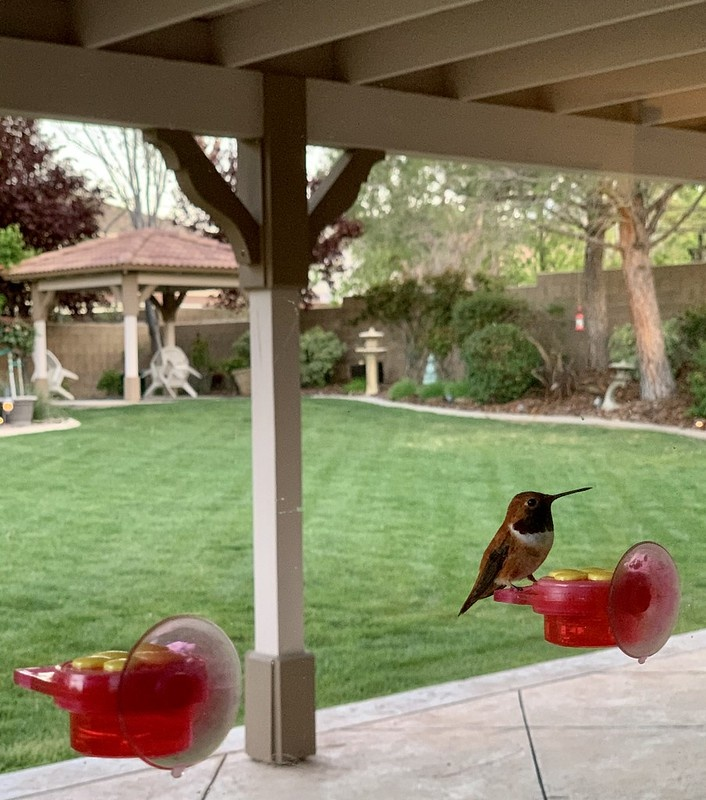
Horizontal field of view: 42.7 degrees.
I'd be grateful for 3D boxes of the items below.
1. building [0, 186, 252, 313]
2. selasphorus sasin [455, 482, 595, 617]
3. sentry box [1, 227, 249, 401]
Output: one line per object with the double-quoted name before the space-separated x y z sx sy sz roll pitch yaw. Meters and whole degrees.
"building" -3.014 -1.998 12.803 2.603 1.402 2.660 -5 8 -30
"selasphorus sasin" 0.581 0.586 3.572 0.354 0.515 0.191 2 -10 26
"sentry box" -3.200 -1.430 13.005 2.823 2.746 2.001 1 -5 -21
